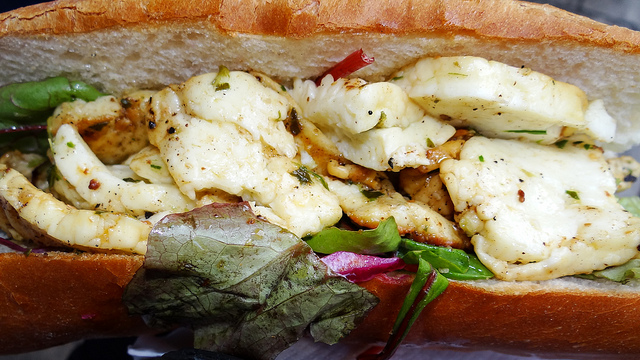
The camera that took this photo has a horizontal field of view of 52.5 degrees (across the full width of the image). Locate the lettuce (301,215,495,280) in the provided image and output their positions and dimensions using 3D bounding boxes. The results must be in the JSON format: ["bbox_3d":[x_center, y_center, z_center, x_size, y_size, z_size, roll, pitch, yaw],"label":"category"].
[{"bbox_3d":[0.180,0.352,3.582,0.222,0.929,0.237,35,67,-23],"label":"lettuce"}]

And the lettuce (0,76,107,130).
[{"bbox_3d":[-1.525,-0.442,3.568,0.449,0.300,0.099,-19,20,-1],"label":"lettuce"}]
